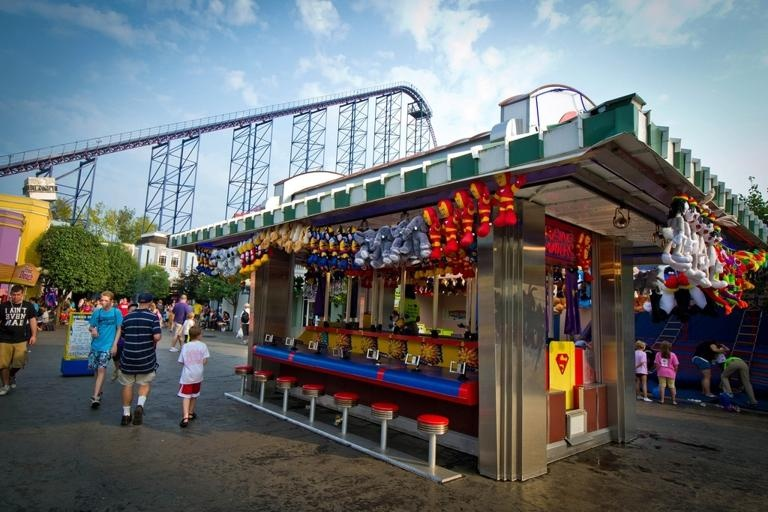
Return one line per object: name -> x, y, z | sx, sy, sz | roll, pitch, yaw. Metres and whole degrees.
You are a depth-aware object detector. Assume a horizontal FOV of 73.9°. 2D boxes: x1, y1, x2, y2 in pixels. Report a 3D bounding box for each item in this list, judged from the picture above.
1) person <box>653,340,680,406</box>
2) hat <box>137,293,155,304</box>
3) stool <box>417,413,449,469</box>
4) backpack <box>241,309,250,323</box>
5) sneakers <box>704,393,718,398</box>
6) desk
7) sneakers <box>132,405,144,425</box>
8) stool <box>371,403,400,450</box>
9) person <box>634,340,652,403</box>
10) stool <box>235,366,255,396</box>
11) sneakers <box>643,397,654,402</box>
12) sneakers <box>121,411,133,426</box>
person -> 7.690, 3.162, 13.932 | 0.507, 1.598, 0.887 | -2, -8, 27
hat -> -4.668, 0.790, 10.041 | 0.206, 0.155, 0.277 | 10, 24, -11
stool -> 0.767, 3.139, 8.524 | 0.523, 0.784, 0.506 | 9, -13, -43
backpack -> -6.203, 2.711, 22.699 | 0.245, 0.605, 0.792 | 4, -7, -18
sneakers -> 8.837, 3.783, 13.772 | 0.103, 0.193, 0.288 | 6, -23, -28
desk -> -0.457, 2.279, 9.965 | 4.894, 0.551, 0.382 | -4, -9, 39
sneakers -> -4.693, 3.015, 9.702 | 0.200, 0.456, 0.197 | 1, -5, 2
stool -> 0.027, 3.017, 9.006 | 0.433, 0.818, 0.491 | 0, -8, 14
person -> 7.107, 3.150, 14.071 | 0.301, 1.570, 0.871 | -2, -8, 26
stool -> -3.388, 2.937, 12.287 | 0.389, 0.686, 1.638 | 4, -7, -15
sneakers -> 7.144, 3.902, 13.843 | 0.327, 0.132, 0.107 | 0, -3, -19
sneakers -> -4.864, 3.099, 9.626 | 0.123, 0.109, 0.281 | 1, -7, -19
